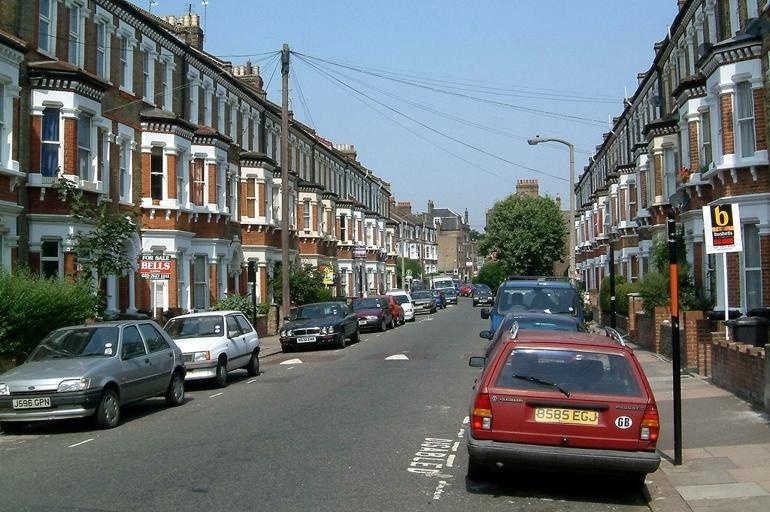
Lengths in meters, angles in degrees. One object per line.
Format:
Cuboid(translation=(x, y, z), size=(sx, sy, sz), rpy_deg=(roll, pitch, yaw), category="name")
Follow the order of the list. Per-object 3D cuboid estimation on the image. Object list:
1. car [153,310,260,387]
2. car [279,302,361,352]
Cuboid(translation=(-4.926, 2.572, 24.271), size=(1.734, 1.203, 2.546), rpy_deg=(-3, -6, 12), category="car")
Cuboid(translation=(-2.618, 2.692, 32.566), size=(2.486, 1.932, 3.125), rpy_deg=(-2, -5, 2), category="car")
